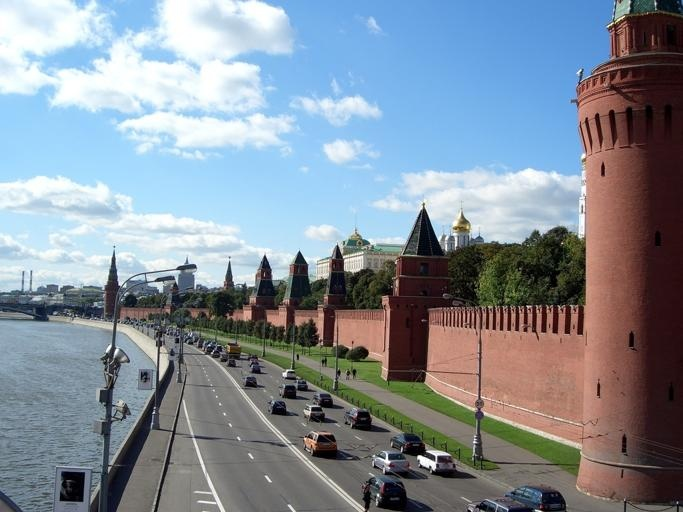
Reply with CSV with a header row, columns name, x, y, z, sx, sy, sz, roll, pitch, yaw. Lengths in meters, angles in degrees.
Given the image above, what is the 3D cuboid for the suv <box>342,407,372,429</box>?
name,x,y,z,sx,sy,sz,roll,pitch,yaw
suv,0.976,10.430,46.483,0.901,0.756,1.877,2,-1,-15

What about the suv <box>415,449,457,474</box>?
name,x,y,z,sx,sy,sz,roll,pitch,yaw
suv,4.806,10.507,36.825,0.923,0.774,1.912,4,0,-23

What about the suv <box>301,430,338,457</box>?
name,x,y,z,sx,sy,sz,roll,pitch,yaw
suv,-1.285,10.213,39.469,0.951,0.763,1.898,2,1,-17
